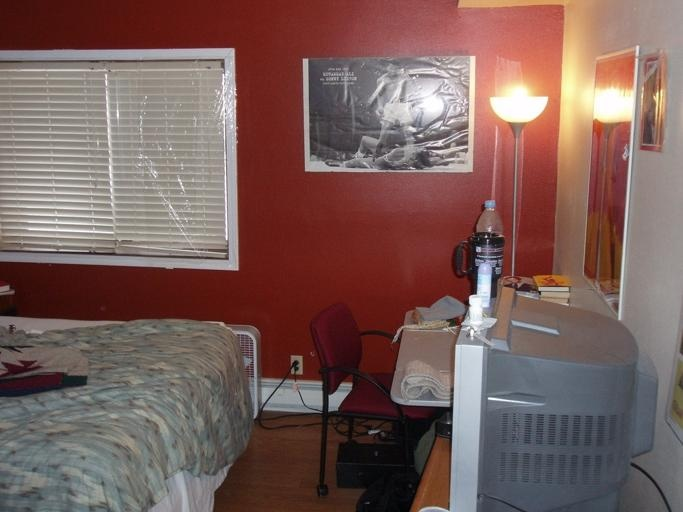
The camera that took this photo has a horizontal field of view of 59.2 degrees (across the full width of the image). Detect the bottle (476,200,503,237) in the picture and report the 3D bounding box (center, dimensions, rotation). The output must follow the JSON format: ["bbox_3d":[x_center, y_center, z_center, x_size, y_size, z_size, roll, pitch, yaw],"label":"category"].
[{"bbox_3d":[0.937,-0.244,3.782,0.177,0.197,0.172,-9,10,-40],"label":"bottle"}]

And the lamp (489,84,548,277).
[{"bbox_3d":[1.084,-0.446,3.743,0.347,1.221,0.453,3,10,18],"label":"lamp"}]

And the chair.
[{"bbox_3d":[0.216,0.760,3.868,0.926,1.393,0.983,1,11,11],"label":"chair"}]

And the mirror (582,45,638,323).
[{"bbox_3d":[1.208,-0.304,2.695,0.020,1.307,1.184,2,8,20],"label":"mirror"}]

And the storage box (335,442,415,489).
[{"bbox_3d":[0.161,1.178,3.448,0.432,0.220,0.240,0,26,5],"label":"storage box"}]
